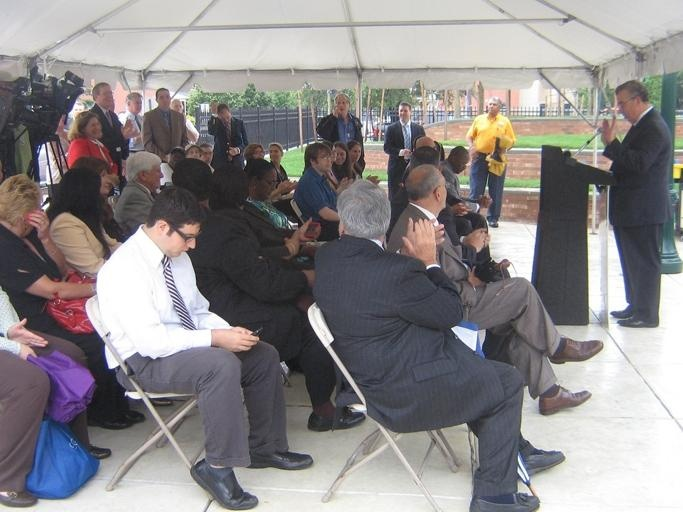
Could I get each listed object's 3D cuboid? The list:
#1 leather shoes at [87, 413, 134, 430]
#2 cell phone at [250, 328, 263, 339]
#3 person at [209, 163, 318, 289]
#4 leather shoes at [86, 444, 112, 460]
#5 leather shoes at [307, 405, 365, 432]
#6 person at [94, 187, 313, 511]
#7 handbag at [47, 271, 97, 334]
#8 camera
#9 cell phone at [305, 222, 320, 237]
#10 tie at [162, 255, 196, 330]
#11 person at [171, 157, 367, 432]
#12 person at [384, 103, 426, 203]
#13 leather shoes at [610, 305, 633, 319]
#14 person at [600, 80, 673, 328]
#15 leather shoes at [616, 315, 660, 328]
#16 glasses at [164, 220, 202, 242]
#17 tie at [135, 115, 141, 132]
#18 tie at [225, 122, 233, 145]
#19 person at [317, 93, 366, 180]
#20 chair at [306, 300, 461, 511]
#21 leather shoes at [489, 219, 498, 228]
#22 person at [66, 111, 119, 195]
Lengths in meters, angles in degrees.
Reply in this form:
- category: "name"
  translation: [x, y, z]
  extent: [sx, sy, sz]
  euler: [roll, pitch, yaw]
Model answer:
- category: "leather shoes"
  translation: [-1.542, 1.100, 4.117]
  extent: [0.307, 0.116, 0.108]
  euler: [1, 2, 2]
- category: "cell phone"
  translation: [-0.537, 0.494, 3.905]
  extent: [0.096, 0.034, 0.029]
  euler: [-29, -5, -9]
- category: "person"
  translation: [-0.435, -0.276, 4.383]
  extent: [0.632, 0.819, 0.313]
  euler: [-4, -14, 1]
- category: "leather shoes"
  translation: [-1.481, 1.189, 3.733]
  extent: [0.153, 0.063, 0.065]
  euler: [2, 7, 3]
- category: "leather shoes"
  translation: [-0.045, 1.033, 4.047]
  extent: [0.404, 0.170, 0.204]
  euler: [-2, 0, -10]
- category: "person"
  translation: [-0.823, 0.479, 3.445]
  extent: [0.907, 1.725, 0.648]
  euler: [1, 12, 26]
- category: "handbag"
  translation: [-1.755, 0.340, 3.953]
  extent: [0.146, 0.443, 0.329]
  euler: [-17, 19, -6]
- category: "camera"
  translation: [-3.052, -1.577, 6.177]
  extent: [0.272, 0.763, 0.548]
  euler: [23, -5, 42]
- category: "cell phone"
  translation: [-0.233, -0.204, 4.743]
  extent: [0.099, 0.121, 0.131]
  euler: [2, 11, 26]
- category: "tie"
  translation: [-0.910, 0.241, 3.450]
  extent: [0.079, 0.559, 0.045]
  euler: [-20, 14, -12]
- category: "person"
  translation: [-0.452, 0.270, 4.210]
  extent: [0.966, 1.981, 0.809]
  euler: [-10, 10, 2]
- category: "person"
  translation: [1.099, -1.558, 10.470]
  extent: [0.657, 1.938, 0.578]
  euler: [-5, 24, -9]
- category: "leather shoes"
  translation: [2.729, 0.554, 6.073]
  extent: [0.091, 0.118, 0.268]
  euler: [0, 5, -25]
- category: "person"
  translation: [2.751, -0.466, 5.724]
  extent: [0.703, 2.276, 0.465]
  euler: [-3, 11, 7]
- category: "leather shoes"
  translation: [2.809, 0.636, 5.821]
  extent: [0.348, 0.155, 0.142]
  euler: [3, -2, 14]
- category: "glasses"
  translation: [-0.868, -0.132, 3.302]
  extent: [0.114, 0.032, 0.113]
  euler: [28, 11, 8]
- category: "tie"
  translation: [-3.027, -1.974, 9.138]
  extent: [0.055, 0.224, 0.233]
  euler: [-3, 11, -14]
- category: "tie"
  translation: [-1.925, -2.073, 10.446]
  extent: [0.195, 0.286, 0.254]
  euler: [-1, 20, -5]
- category: "person"
  translation: [0.082, -1.702, 9.472]
  extent: [0.579, 1.309, 0.369]
  euler: [-9, -21, 2]
- category: "chair"
  translation: [0.170, 0.775, 3.881]
  extent: [1.104, 1.518, 0.842]
  euler: [-2, 9, 12]
- category: "leather shoes"
  translation: [2.592, -0.560, 10.514]
  extent: [0.138, 0.153, 0.353]
  euler: [0, -2, 11]
- category: "person"
  translation: [-2.719, -1.078, 6.619]
  extent: [0.456, 0.871, 0.531]
  euler: [-17, -7, 42]
